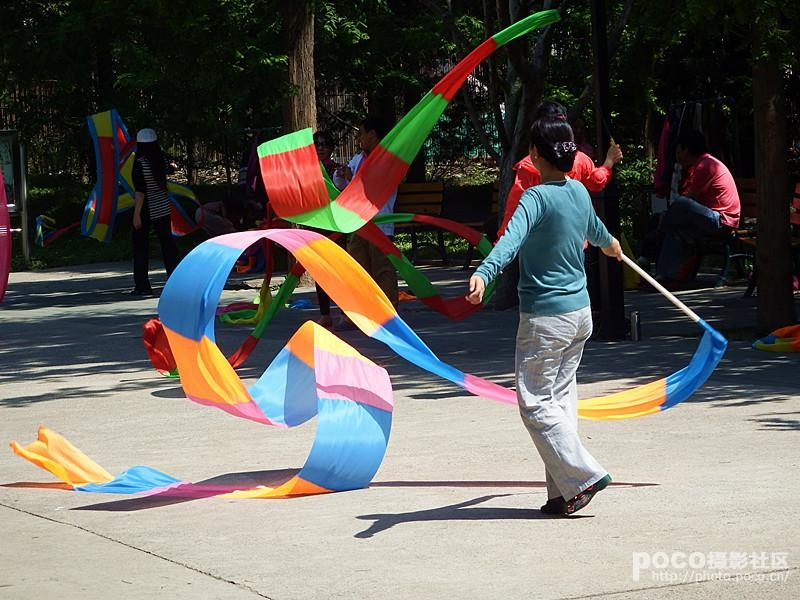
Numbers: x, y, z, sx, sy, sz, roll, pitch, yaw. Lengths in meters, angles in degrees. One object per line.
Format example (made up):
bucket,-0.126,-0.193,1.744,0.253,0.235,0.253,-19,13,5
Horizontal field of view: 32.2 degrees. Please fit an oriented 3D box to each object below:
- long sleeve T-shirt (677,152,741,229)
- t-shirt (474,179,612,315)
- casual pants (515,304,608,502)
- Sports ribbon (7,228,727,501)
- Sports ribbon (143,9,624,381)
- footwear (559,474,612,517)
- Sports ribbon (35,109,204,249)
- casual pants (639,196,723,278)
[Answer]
long sleeve T-shirt,3.766,-1.308,16.754,0.941,1.106,0.935,1,3,25
t-shirt,1.127,-0.363,10.457,1.753,0.823,0.442,-15,18,-33
casual pants,1.002,0.641,8.615,0.549,1.177,0.421,-1,5,3
Sports ribbon,-0.266,0.490,9.891,4.752,1.399,2.172,-1,0,-12
Sports ribbon,-0.609,-0.925,12.344,5.183,2.651,1.458,-13,22,-35
footwear,1.191,1.193,8.562,0.249,0.251,0.326,1,5,29
Sports ribbon,-3.851,-1.723,20.798,1.963,1.513,1.537,4,3,-44
casual pants,3.455,-0.699,16.466,0.929,0.833,0.912,6,-11,-37
